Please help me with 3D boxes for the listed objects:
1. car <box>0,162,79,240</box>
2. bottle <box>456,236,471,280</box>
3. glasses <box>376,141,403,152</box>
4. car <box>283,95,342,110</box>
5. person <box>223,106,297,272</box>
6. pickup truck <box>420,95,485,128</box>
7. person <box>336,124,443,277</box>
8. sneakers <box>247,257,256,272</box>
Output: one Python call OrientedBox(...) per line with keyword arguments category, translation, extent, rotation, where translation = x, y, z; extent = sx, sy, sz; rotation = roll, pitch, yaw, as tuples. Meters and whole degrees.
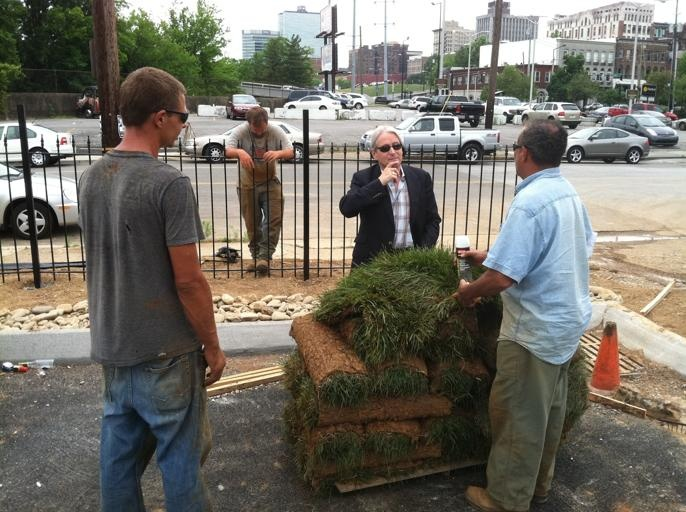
OrientedBox(category="car", translation=(-5.199, -0.862, 10.535), extent=(1.215, 1.167, 2.370), rotation=(-10, 17, -30))
OrientedBox(category="bottle", translation=(0.841, 0.030, 4.306), extent=(0.076, 0.361, 0.084), rotation=(2, -15, 0))
OrientedBox(category="glasses", translation=(0.396, -0.933, 5.299), extent=(0.239, 0.089, 0.108), rotation=(-2, 14, -4))
OrientedBox(category="car", translation=(-2.036, -11.226, 45.096), extent=(3.579, 1.015, 3.257), rotation=(-1, 15, 0))
OrientedBox(category="person", translation=(-1.030, -0.790, 7.774), extent=(0.819, 2.103, 0.701), rotation=(-4, 14, -12))
OrientedBox(category="pickup truck", translation=(7.022, -9.194, 39.323), extent=(2.382, 1.753, 4.769), rotation=(-4, 20, -19))
OrientedBox(category="person", translation=(0.416, -0.496, 5.317), extent=(0.863, 1.180, 0.526), rotation=(-1, 14, 3))
OrientedBox(category="sneakers", translation=(-1.199, 0.117, 8.098), extent=(0.127, 0.074, 0.182), rotation=(0, 15, -7))
